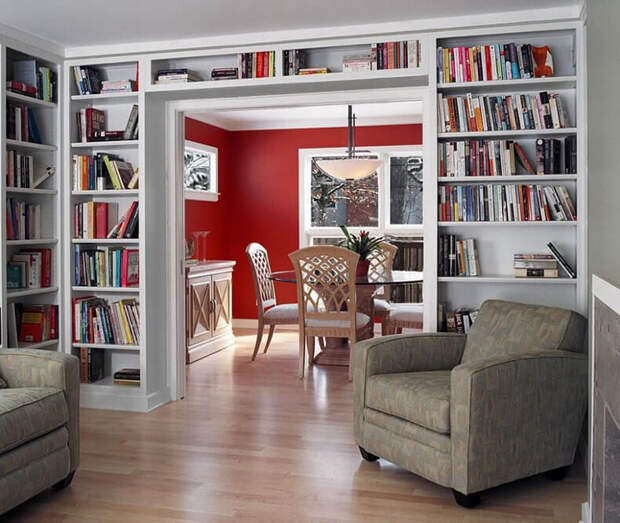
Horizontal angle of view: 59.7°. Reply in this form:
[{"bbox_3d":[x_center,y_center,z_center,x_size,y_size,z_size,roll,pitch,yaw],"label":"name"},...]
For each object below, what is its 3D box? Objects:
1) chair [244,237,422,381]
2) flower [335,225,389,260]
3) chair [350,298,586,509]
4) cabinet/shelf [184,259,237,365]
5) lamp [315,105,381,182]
[{"bbox_3d":[0.115,0.357,5.381,1.306,0.951,1.438,0,3,17],"label":"chair"},{"bbox_3d":[0.495,-0.171,5.248,0.440,0.286,0.452,3,0,15],"label":"flower"},{"bbox_3d":[0.946,0.721,3.154,1.083,0.897,1.137,-1,0,-34],"label":"chair"},{"bbox_3d":[-1.093,0.549,5.812,0.365,0.903,1.034,0,0,10],"label":"cabinet/shelf"},{"bbox_3d":[0.496,-1.322,6.176,0.632,0.716,0.634,-1,5,7],"label":"lamp"}]
